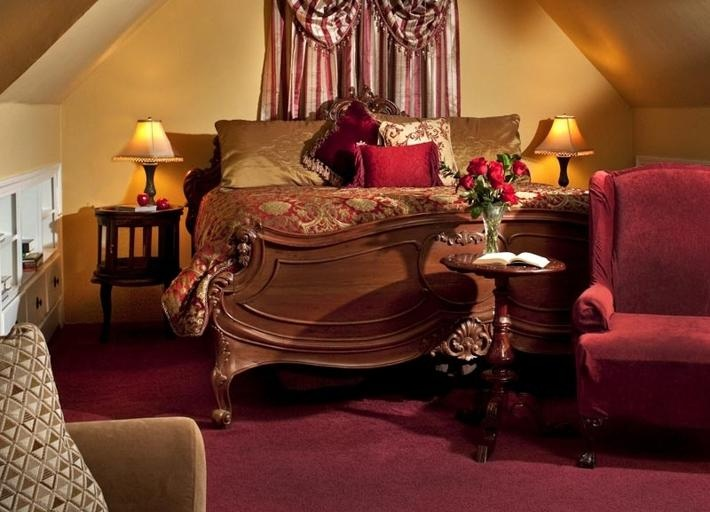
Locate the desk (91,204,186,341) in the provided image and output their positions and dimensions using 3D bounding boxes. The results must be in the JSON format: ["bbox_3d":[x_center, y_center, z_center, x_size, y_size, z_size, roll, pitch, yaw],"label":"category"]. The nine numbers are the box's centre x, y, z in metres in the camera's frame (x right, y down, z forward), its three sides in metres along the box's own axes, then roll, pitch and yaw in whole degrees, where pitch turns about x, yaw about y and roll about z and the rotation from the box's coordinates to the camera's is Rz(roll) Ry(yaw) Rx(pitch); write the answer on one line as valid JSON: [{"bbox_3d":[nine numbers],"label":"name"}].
[{"bbox_3d":[-1.529,0.110,4.227,0.635,0.898,0.654,1,4,-28],"label":"desk"}]

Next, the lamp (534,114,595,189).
[{"bbox_3d":[1.644,-0.745,4.783,0.525,0.724,0.595,1,3,24],"label":"lamp"}]

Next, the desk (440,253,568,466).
[{"bbox_3d":[0.692,0.465,2.873,0.540,0.911,0.578,0,-6,39],"label":"desk"}]

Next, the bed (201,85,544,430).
[{"bbox_3d":[-0.054,-0.120,3.642,1.531,1.086,1.641,-1,8,-8],"label":"bed"}]

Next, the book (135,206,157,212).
[{"bbox_3d":[-1.407,-0.313,4.006,0.130,0.027,0.102,-2,12,-12],"label":"book"}]

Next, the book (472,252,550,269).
[{"bbox_3d":[0.733,0.013,2.764,0.335,0.048,0.197,5,13,21],"label":"book"}]

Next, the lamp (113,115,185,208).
[{"bbox_3d":[-1.428,-0.670,4.226,0.417,0.578,0.476,0,11,1],"label":"lamp"}]

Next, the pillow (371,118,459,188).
[{"bbox_3d":[0.403,-0.746,3.929,0.459,0.464,0.140,-1,-4,-23],"label":"pillow"}]

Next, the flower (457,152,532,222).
[{"bbox_3d":[0.689,-0.339,2.911,0.386,0.309,0.268,-7,13,-33],"label":"flower"}]
